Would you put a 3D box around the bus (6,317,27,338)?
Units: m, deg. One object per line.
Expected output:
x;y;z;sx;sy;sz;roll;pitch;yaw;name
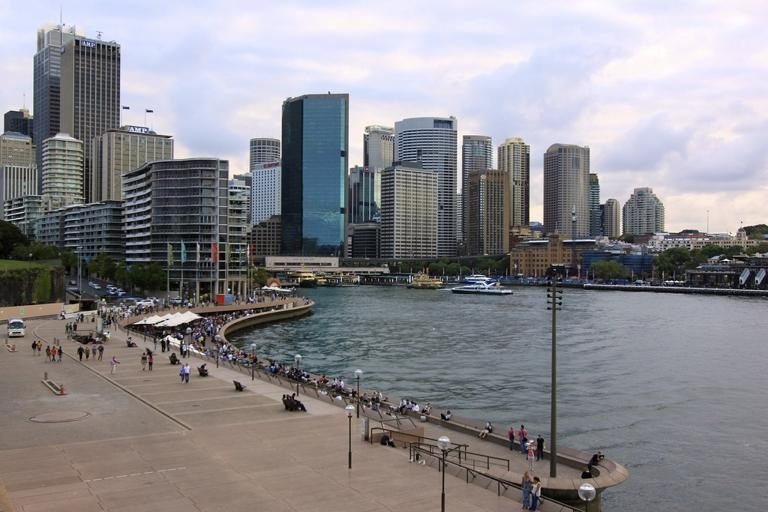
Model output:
-63.314;12.589;162.138;2.692;2.069;4.599;0;1;-32;bus

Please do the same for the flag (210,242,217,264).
-39.853;-0.432;221.143;1.014;3.744;3.742;1;12;-17;flag
